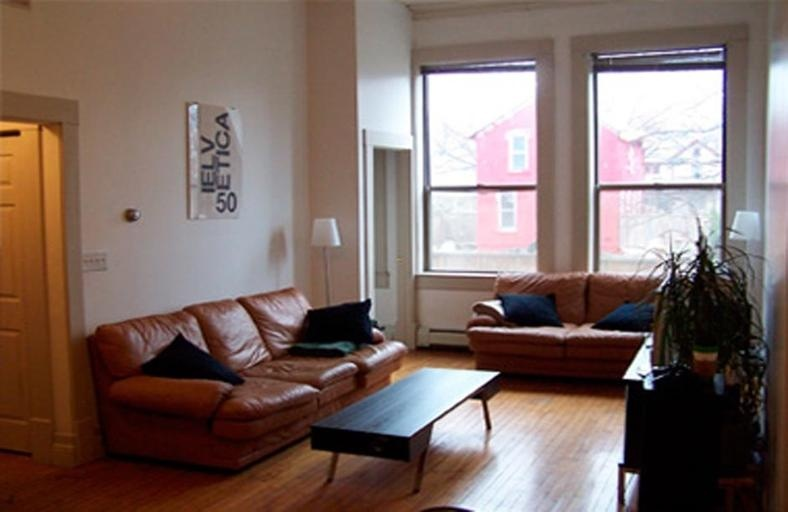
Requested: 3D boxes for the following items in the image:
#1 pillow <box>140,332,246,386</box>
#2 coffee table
[{"bbox_3d":[-1.683,0.918,4.987,0.763,0.418,0.378,0,10,5],"label":"pillow"},{"bbox_3d":[0.132,1.435,4.922,0.736,0.553,1.615,6,12,32],"label":"coffee table"}]
